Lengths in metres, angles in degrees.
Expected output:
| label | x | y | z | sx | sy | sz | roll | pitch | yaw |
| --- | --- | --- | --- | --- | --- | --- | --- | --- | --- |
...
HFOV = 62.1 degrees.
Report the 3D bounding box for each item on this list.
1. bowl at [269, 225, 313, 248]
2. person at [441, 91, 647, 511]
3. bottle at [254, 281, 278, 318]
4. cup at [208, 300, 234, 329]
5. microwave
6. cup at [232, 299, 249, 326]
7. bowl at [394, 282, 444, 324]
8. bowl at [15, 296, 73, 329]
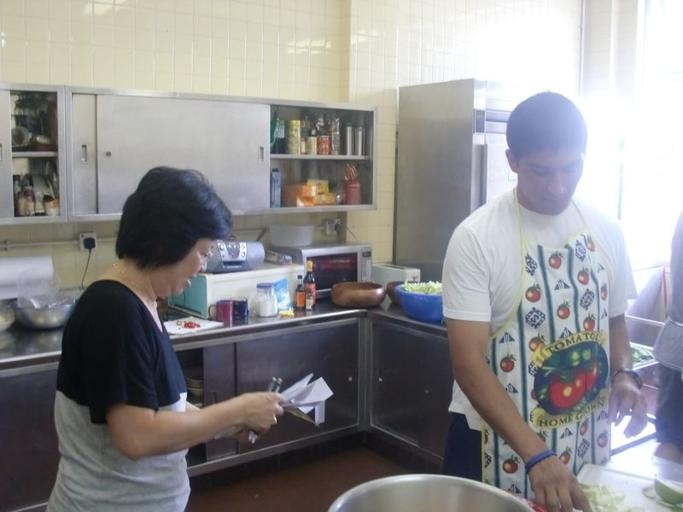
| label | x | y | z | sx | sy | sz | roll | pitch | yaw |
| --- | --- | --- | --- | --- | --- | --- | --- | --- | --- |
| bowl | -0.349 | -0.124 | 4.055 | 0.172 | 0.088 | 0.212 | 1 | 0 | 41 |
| person | 0.693 | 0.105 | 1.774 | 0.705 | 1.213 | 0.523 | -10 | 12 | -29 |
| bottle | -0.489 | 0.292 | 3.656 | 0.179 | 0.261 | 0.184 | 0 | 0 | 0 |
| cup | -0.742 | 0.361 | 3.491 | 0.172 | 0.183 | 0.111 | -1 | 5 | -15 |
| microwave | -0.034 | 0.051 | 4.099 | 0.592 | 0.320 | 0.413 | -5 | 7 | -39 |
| cup | -0.639 | 0.344 | 3.560 | 0.086 | 0.143 | 0.140 | 1 | 0 | 4 |
| bowl | 0.547 | 0.328 | 3.746 | 0.349 | 0.224 | 0.379 | 2 | 7 | 0 |
| bowl | -1.711 | 0.337 | 3.252 | 0.314 | 0.150 | 0.321 | 4 | 8 | -1 |
